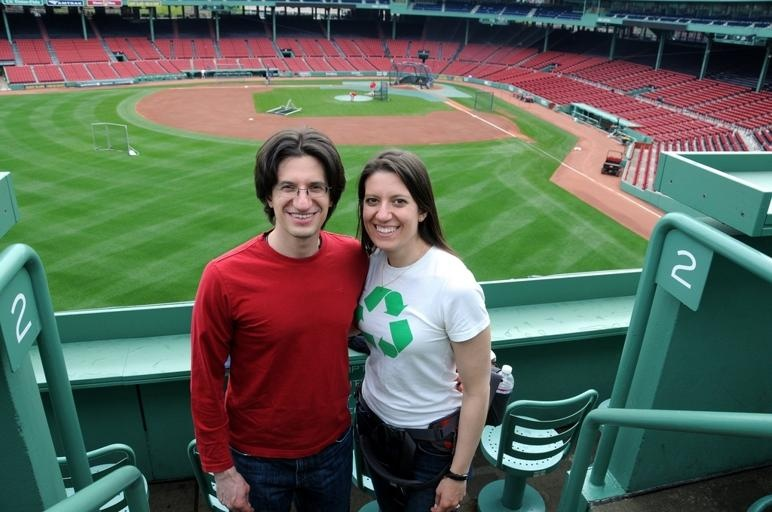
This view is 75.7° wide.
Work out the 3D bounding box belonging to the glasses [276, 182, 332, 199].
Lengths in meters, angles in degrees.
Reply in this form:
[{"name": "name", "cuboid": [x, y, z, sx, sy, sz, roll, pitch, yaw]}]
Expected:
[{"name": "glasses", "cuboid": [-0.476, -0.379, 2.851, 0.293, 0.085, 0.074, -4, 23, -11]}]
